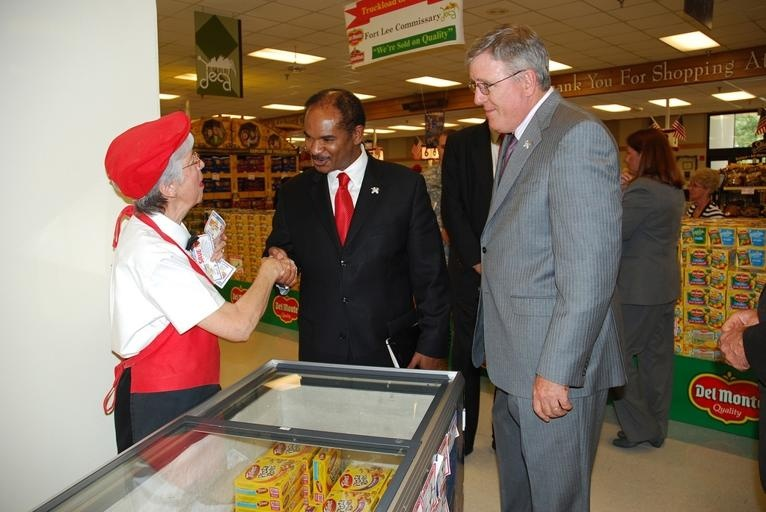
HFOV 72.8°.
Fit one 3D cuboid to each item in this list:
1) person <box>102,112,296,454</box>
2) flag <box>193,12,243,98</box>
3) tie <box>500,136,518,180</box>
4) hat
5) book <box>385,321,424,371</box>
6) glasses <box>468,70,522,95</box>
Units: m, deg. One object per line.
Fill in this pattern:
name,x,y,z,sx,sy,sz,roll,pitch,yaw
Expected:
person,-0.779,0.122,2.049,0.708,1.345,0.607,-6,12,-24
flag,-1.981,-2.429,6.253,0.546,1.015,0.614,-4,12,-18
tie,0.584,-0.485,2.404,0.045,0.039,0.333,-3,49,31
hat,-0.909,-0.382,2.014,0.311,0.331,0.146,-5,12,-21
book,0.098,0.448,2.570,0.028,0.146,0.206,0,27,43
glasses,0.473,-0.740,2.221,0.124,0.034,0.119,-24,15,-5
